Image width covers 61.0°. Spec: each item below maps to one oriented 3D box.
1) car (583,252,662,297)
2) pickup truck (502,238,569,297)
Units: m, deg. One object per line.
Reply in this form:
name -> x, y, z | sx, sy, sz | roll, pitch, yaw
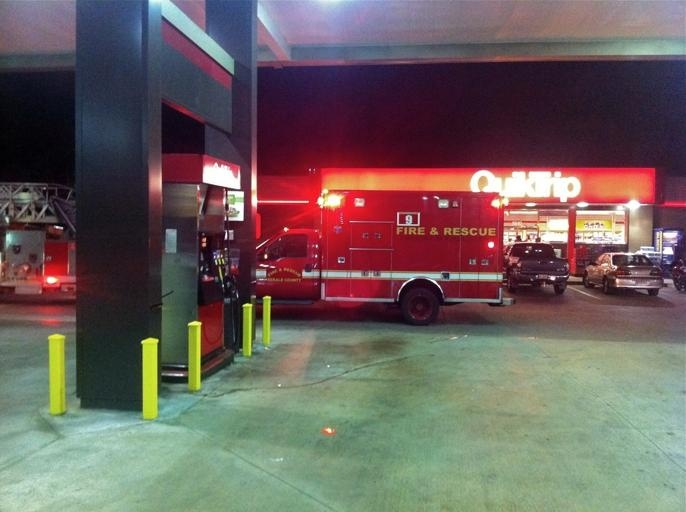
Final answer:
car -> 10.826, 0.599, 22.729 | 1.976, 1.526, 4.390 | 0, 2, 6
pickup truck -> 7.214, 0.400, 22.193 | 2.132, 1.960, 2.002 | 3, 5, 3
